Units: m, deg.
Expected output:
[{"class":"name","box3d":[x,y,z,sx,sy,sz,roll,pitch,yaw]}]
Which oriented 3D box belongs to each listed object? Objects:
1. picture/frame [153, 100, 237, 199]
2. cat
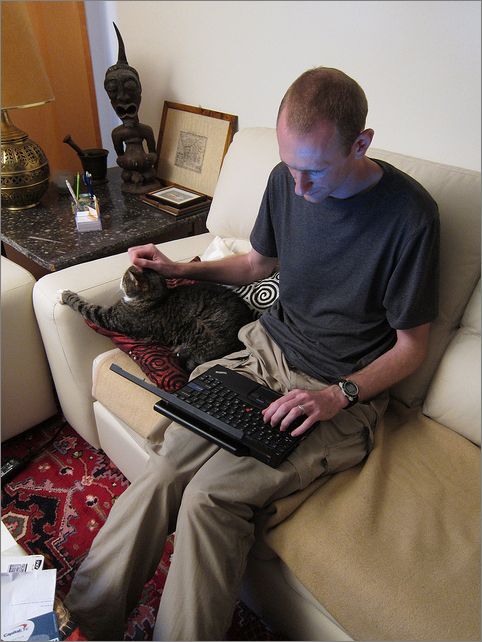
[{"class":"picture/frame","box3d":[-0.219,-0.739,2.150,0.436,0.367,0.027,28,26,36]},{"class":"cat","box3d":[-0.247,-0.014,1.402,0.455,0.188,0.275,21,40,-10]}]
